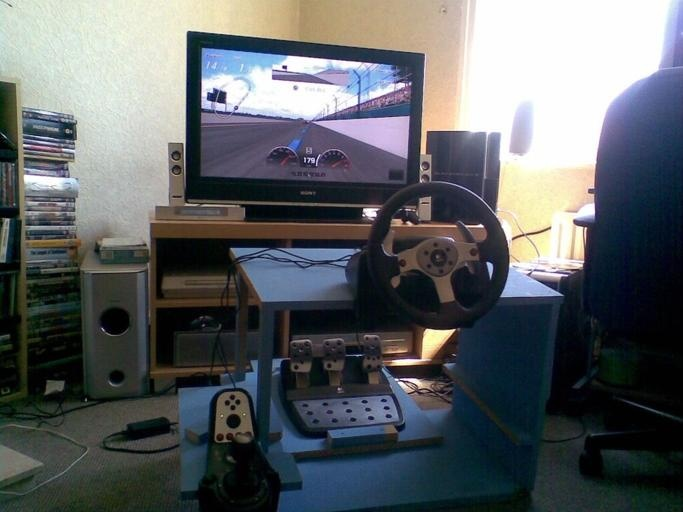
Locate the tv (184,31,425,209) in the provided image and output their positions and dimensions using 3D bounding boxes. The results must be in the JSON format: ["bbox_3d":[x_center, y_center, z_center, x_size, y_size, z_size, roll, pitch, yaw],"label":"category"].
[{"bbox_3d":[-0.183,-0.566,2.419,0.799,0.598,0.245,0,8,-12],"label":"tv"}]

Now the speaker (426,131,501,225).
[{"bbox_3d":[0.557,-0.390,2.571,0.329,0.357,0.138,1,11,12],"label":"speaker"}]

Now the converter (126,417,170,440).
[{"bbox_3d":[-0.685,0.604,1.975,0.106,0.026,0.063,-5,16,-26],"label":"converter"}]

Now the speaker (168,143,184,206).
[{"bbox_3d":[-0.698,-0.342,2.359,0.076,0.253,0.077,-6,11,-22],"label":"speaker"}]

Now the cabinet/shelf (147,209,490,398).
[{"bbox_3d":[-0.241,0.136,2.303,1.150,0.703,0.943,-3,12,-6],"label":"cabinet/shelf"}]
